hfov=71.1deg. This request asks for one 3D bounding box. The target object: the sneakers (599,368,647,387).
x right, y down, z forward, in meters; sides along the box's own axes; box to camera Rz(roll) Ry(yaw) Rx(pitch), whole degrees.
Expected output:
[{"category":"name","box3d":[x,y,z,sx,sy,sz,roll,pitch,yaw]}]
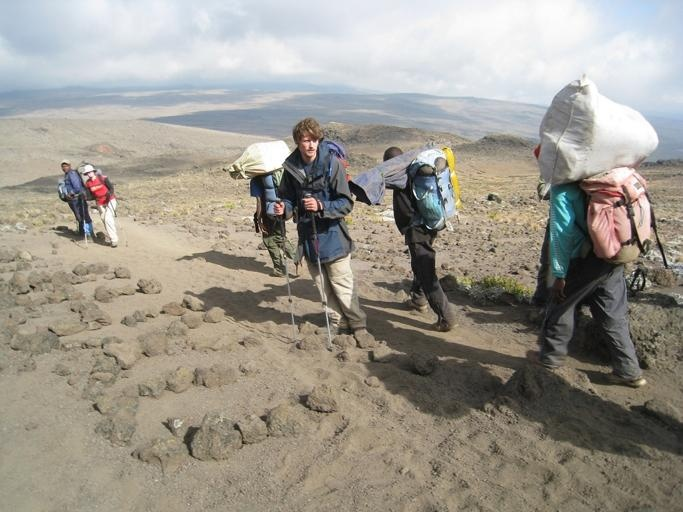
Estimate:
[{"category":"sneakers","box3d":[3.234,1.403,5.499,0.439,0.165,0.172,-3,7,34]}]

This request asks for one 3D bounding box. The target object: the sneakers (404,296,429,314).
[{"category":"sneakers","box3d":[1.253,0.808,7.901,0.474,0.178,0.168,11,40,37]}]

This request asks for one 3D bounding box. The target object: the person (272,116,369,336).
[{"category":"person","box3d":[-0.337,-0.316,6.323,1.412,2.711,1.009,-2,6,6]}]

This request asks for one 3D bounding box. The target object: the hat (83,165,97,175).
[{"category":"hat","box3d":[-6.031,-2.049,11.453,0.312,0.188,0.377,-10,11,-37]}]
